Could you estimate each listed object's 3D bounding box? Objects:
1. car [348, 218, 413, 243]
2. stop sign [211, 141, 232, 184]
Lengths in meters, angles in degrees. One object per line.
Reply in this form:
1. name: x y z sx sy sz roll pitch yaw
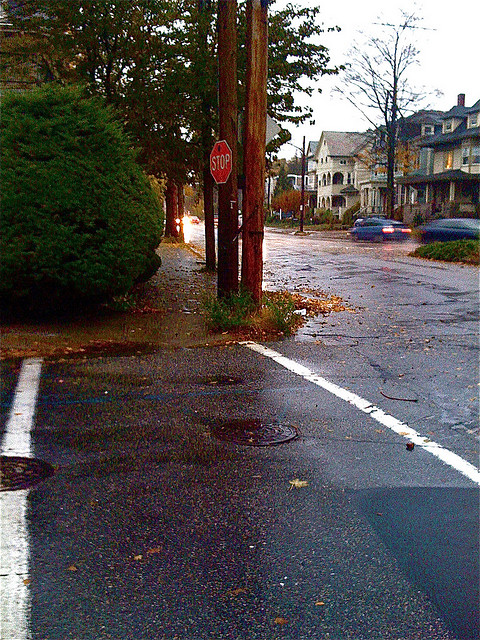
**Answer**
1. car: 7.770 -4.979 42.489 1.853 1.287 4.222 -1 8 -14
2. stop sign: -0.263 -2.226 10.794 0.093 0.580 0.445 -4 9 -38
